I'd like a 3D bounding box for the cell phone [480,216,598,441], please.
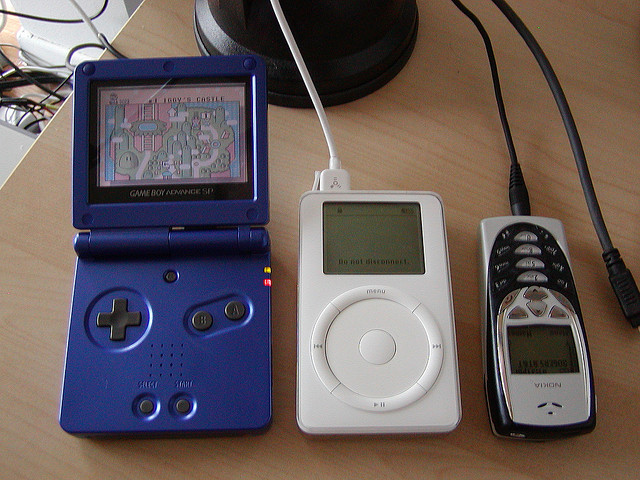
[{"bbox_3d":[0.253,0.096,0.796,0.114,0.069,0.298,1,48,10],"label":"cell phone"}]
